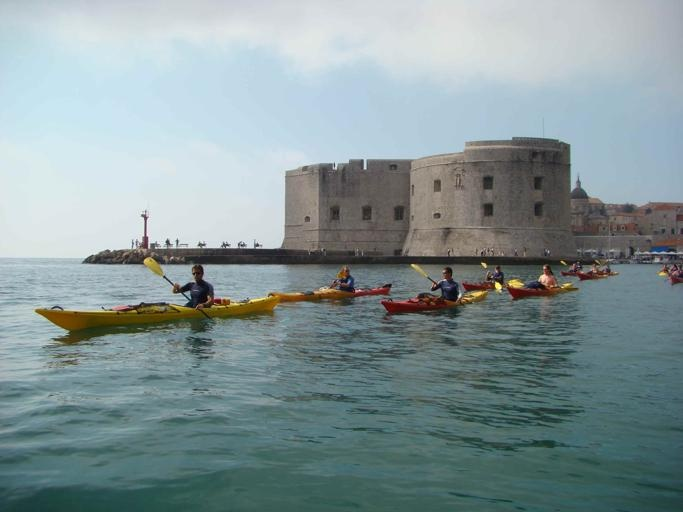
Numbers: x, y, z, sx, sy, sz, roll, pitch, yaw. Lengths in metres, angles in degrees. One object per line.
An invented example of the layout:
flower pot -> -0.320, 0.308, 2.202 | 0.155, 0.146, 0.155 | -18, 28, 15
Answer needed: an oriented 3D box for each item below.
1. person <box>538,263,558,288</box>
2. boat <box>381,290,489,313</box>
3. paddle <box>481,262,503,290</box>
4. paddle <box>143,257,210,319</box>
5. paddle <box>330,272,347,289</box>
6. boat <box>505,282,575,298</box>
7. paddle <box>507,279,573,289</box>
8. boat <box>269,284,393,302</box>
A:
person -> 9.566, 0.936, 36.094 | 0.851, 1.092, 1.246 | -3, 0, -34
boat -> 3.067, 1.380, 22.755 | 4.822, 0.584, 1.001 | -2, 5, -44
paddle -> 7.076, 0.965, 36.884 | 0.913, 0.376, 0.940 | -22, -20, 7
paddle -> -6.537, 1.188, 30.429 | 0.313, 2.567, 0.168 | -53, 3, 3
paddle -> 0.008, 0.845, 26.482 | 0.223, 0.267, 1.116 | -22, 2, 17
boat -> 7.436, 1.301, 28.392 | 4.962, 0.420, 0.846 | -1, 6, -44
paddle -> 7.869, 1.132, 30.884 | 3.158, 0.268, 0.626 | -1, 3, -41
boat -> -0.370, 1.321, 27.149 | 3.412, 0.375, 0.576 | -2, 5, -39
